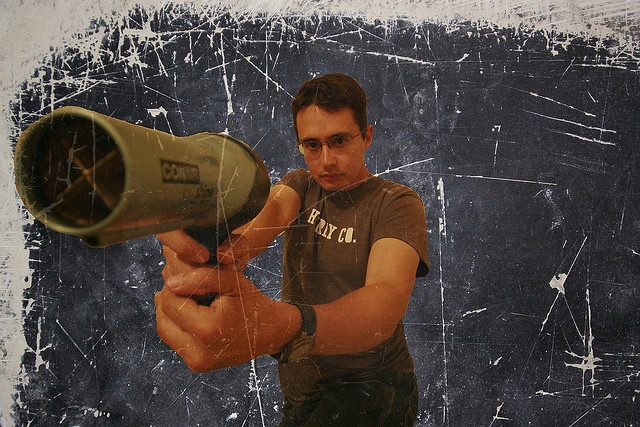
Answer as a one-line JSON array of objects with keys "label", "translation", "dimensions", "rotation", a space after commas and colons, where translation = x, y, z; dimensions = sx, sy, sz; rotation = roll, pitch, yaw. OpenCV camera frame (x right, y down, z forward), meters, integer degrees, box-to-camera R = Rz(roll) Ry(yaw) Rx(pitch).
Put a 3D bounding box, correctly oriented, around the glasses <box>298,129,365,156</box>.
[{"label": "glasses", "translation": [0.042, -0.201, 2.085], "dimensions": [0.184, 0.071, 0.066], "rotation": [0, 7, 2]}]
